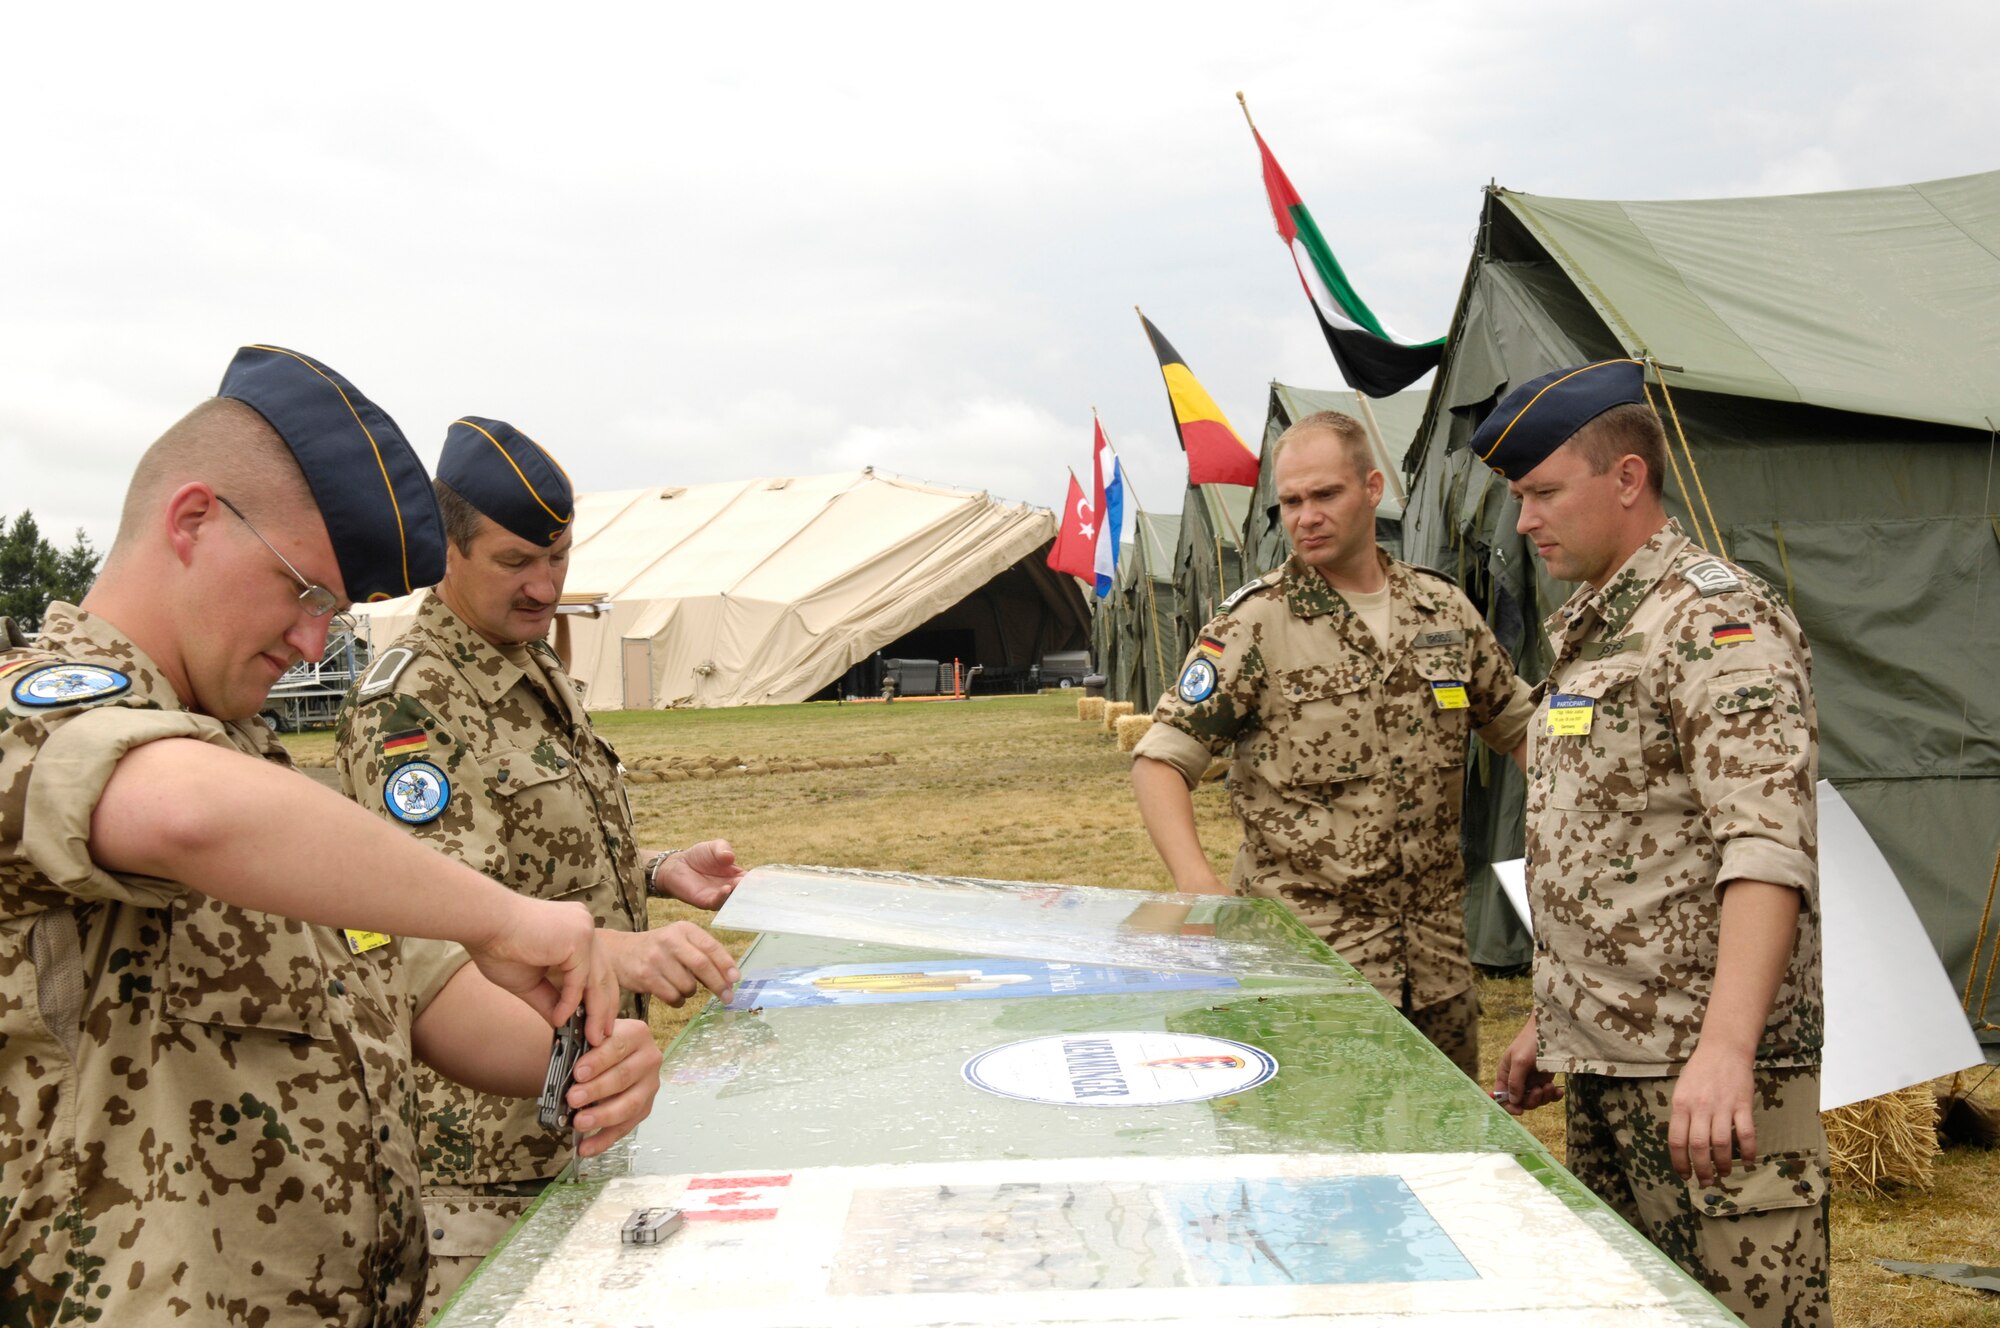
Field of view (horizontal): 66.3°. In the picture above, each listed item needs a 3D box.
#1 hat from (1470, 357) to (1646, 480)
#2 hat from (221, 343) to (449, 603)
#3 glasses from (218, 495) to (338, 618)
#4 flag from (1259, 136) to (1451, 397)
[{"bbox_3d":[1.080,-0.497,3.018,0.312,0.118,0.228,-32,3,15],"label":"hat"},{"bbox_3d":[-0.868,-0.221,1.925,0.128,0.326,0.273,-29,-3,41],"label":"hat"},{"bbox_3d":[-0.936,-0.123,1.949,0.043,0.142,0.139,-47,-30,6],"label":"glasses"},{"bbox_3d":[1.988,-2.254,8.627,0.951,1.343,1.188,3,5,6],"label":"flag"}]
